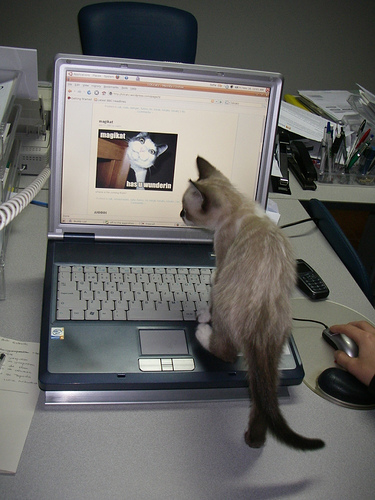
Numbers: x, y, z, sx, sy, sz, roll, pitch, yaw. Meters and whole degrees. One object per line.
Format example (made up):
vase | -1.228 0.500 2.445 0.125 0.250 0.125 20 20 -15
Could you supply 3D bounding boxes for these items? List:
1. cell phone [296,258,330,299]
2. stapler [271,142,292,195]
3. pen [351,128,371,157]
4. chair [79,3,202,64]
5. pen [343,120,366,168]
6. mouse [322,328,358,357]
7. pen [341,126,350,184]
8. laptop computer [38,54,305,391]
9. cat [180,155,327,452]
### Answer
cell phone | 0.233 0.056 0.725 0.035 0.017 0.084 -5 43 -29
stapler | 0.278 -0.233 1.134 0.052 0.052 0.204 8 50 -11
pen | 0.538 -0.327 1.200 0.018 0.022 0.158 15 55 42
chair | -0.192 -0.853 1.701 0.433 0.344 0.441 0 30 -6
pen | 0.529 -0.328 1.228 0.026 0.019 0.260 -3 44 55
mouse | 0.224 0.134 0.568 0.041 0.022 0.038 -1 20 -3
pen | 0.482 -0.290 1.200 0.024 0.029 0.176 4 79 -17
laptop computer | 0.073 -0.067 0.723 0.537 0.413 0.603 -2 35 -15
cat | 0.081 0.038 0.533 0.113 0.158 0.385 22 41 -53
